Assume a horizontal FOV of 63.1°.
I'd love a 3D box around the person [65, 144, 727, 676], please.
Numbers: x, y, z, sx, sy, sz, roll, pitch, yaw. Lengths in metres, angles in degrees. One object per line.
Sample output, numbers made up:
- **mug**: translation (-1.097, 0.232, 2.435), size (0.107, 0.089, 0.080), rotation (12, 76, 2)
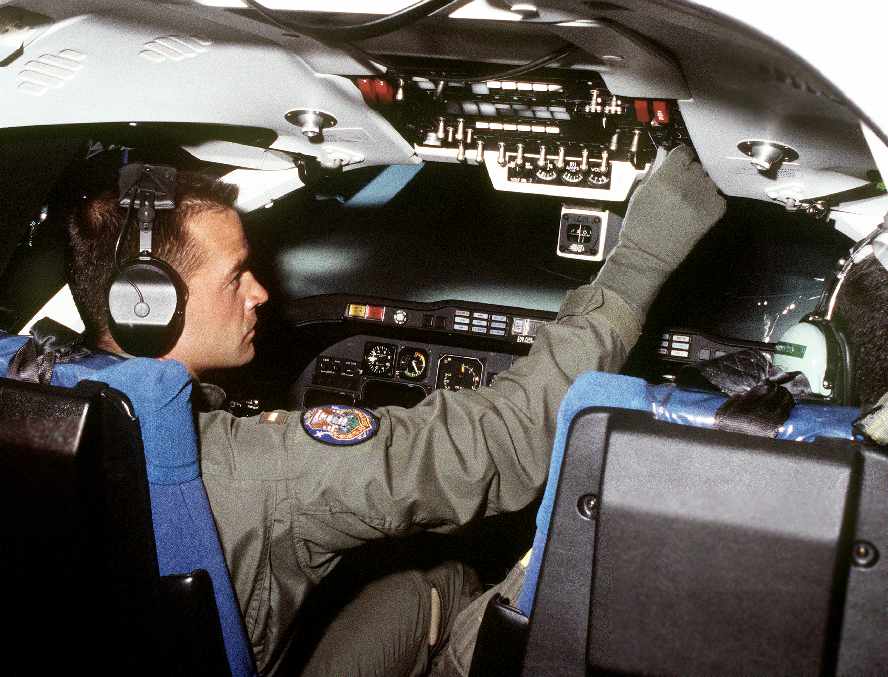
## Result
- **person**: translation (0.048, 0.105, 1.608), size (1.000, 0.671, 1.205), rotation (3, 27, 22)
